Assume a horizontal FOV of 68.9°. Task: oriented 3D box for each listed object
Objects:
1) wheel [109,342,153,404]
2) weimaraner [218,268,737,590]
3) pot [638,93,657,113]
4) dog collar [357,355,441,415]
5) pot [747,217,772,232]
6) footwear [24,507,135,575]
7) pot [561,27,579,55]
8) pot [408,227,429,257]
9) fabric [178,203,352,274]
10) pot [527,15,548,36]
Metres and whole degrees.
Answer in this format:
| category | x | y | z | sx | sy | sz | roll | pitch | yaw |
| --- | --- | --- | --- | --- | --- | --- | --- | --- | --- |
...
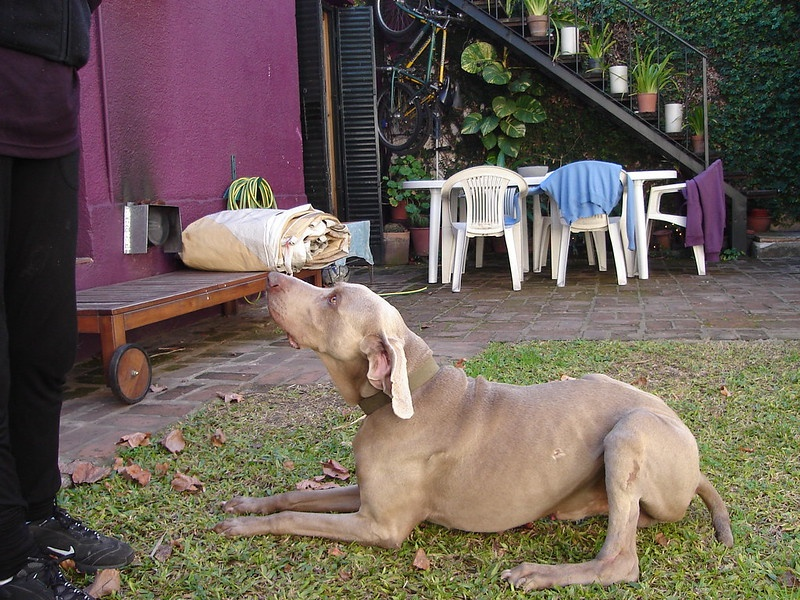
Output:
| category | x | y | z | sx | sy | sz | roll | pitch | yaw |
| --- | --- | --- | --- | --- | --- | --- | --- | --- | --- |
| wheel | -1.499 | 0.413 | 3.242 | 0.113 | 0.251 | 0.285 | -3 | -14 | 21 |
| weimaraner | 0.298 | 0.330 | 2.122 | 1.732 | 0.897 | 0.748 | 3 | 12 | 5 |
| pot | 3.621 | -2.875 | 8.481 | 0.287 | 0.229 | 0.295 | 0 | -3 | 0 |
| dog collar | -0.001 | 0.291 | 1.946 | 0.231 | 0.086 | 0.170 | -39 | 1 | -3 |
| pot | 5.478 | -1.142 | 8.895 | 0.242 | 0.287 | 0.249 | -2 | 8 | 0 |
| footwear | -0.972 | 0.769 | 1.887 | 0.359 | 0.166 | 0.130 | 24 | 30 | -14 |
| pot | 2.454 | -3.736 | 8.563 | 0.341 | 0.410 | 0.353 | 0 | 3 | 0 |
| pot | 0.345 | -0.925 | 9.348 | 0.421 | 0.423 | 0.434 | 0 | 0 | 0 |
| fabric | -1.182 | -0.500 | 4.871 | 0.897 | 0.351 | 0.771 | 3 | 10 | 10 |
| pot | 2.053 | -4.068 | 8.736 | 0.311 | 0.284 | 0.319 | 0 | -5 | 0 |
